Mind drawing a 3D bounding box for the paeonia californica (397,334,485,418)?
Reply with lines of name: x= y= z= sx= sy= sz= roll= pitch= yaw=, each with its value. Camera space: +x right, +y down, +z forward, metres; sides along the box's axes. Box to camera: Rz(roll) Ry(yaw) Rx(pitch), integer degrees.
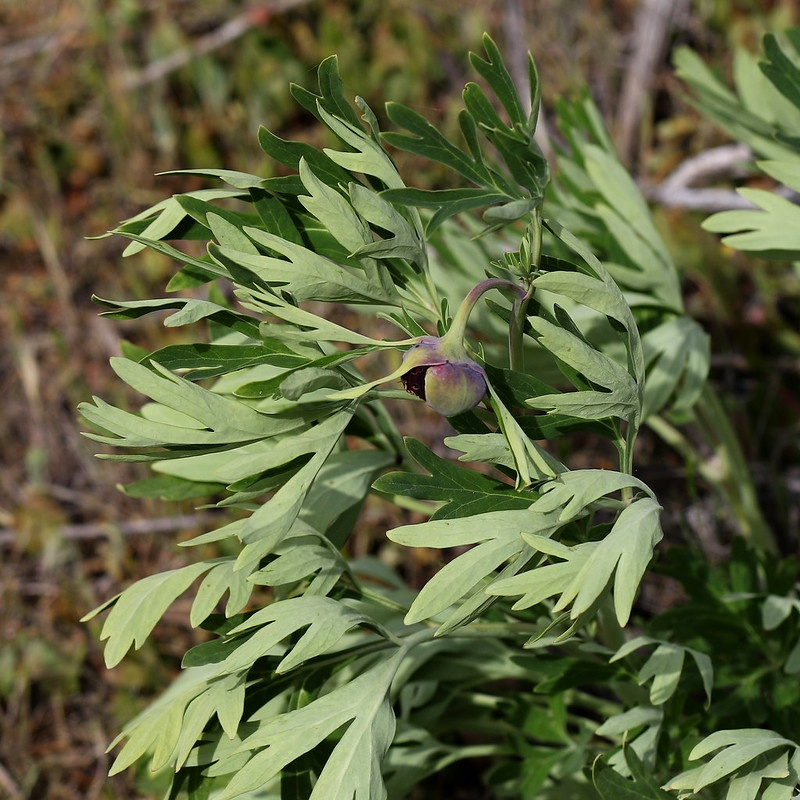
paeonia californica: x=0.037 y=-0.029 z=0.721 sx=0.075 sy=0.065 sz=0.042 roll=33 pitch=70 yaw=15
